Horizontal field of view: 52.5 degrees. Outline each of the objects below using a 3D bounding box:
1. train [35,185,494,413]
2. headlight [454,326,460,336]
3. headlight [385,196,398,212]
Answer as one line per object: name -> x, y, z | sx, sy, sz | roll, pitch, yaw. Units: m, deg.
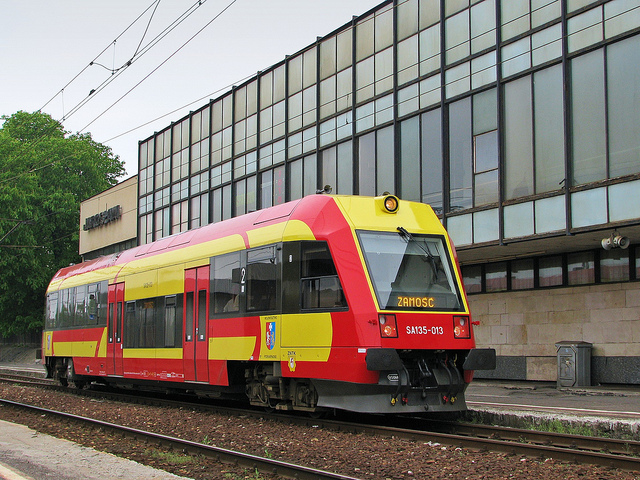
train -> -3.224, 2.239, 18.197 | 3.631, 4.456, 16.870 | 10, -14, -39
headlight -> 2.612, 1.752, 12.378 | 0.133, 0.153, 0.039 | -10, 5, -41
headlight -> 1.408, -0.703, 13.018 | 0.260, 0.287, 0.269 | 22, -8, -16
